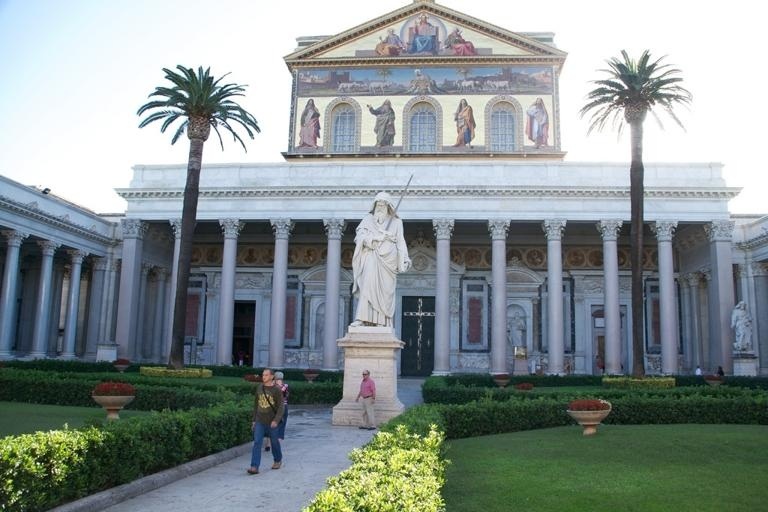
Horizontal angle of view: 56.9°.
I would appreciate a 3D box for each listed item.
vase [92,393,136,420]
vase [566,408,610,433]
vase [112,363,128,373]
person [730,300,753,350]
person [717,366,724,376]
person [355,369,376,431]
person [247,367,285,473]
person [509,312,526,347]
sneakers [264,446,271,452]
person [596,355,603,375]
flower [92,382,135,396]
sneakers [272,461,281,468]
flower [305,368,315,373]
[{"bbox_3d":[-8.695,4.843,22.891,1.155,0.715,1.103,0,-11,-6],"label":"vase"},{"bbox_3d":[6.782,5.387,23.152,1.175,0.821,1.227,-7,-12,26],"label":"vase"},{"bbox_3d":[-14.148,5.970,38.003,0.737,0.404,0.689,2,-12,-5],"label":"vase"},{"bbox_3d":[19.600,3.927,38.858,0.967,2.747,0.830,-8,-13,29],"label":"person"},{"bbox_3d":[18.290,6.209,38.441,0.380,0.497,2.213,-7,-11,24],"label":"person"},{"bbox_3d":[-0.590,4.679,23.145,0.656,1.900,1.088,-1,-11,-2],"label":"person"},{"bbox_3d":[-3.203,4.436,19.174,0.793,2.727,1.023,-10,-14,37],"label":"person"},{"bbox_3d":[8.651,4.724,45.830,1.119,2.236,0.323,1,-12,-12],"label":"person"},{"bbox_3d":[-3.387,5.592,20.543,0.138,0.127,0.365,2,-16,-8],"label":"sneakers"},{"bbox_3d":[13.970,6.928,45.900,0.462,1.166,0.796,-5,-11,16],"label":"person"},{"bbox_3d":[-8.658,4.277,22.669,0.778,0.358,0.612,3,-13,-4],"label":"flower"},{"bbox_3d":[-2.904,5.621,19.046,0.221,0.164,0.220,0,-11,-8],"label":"sneakers"},{"bbox_3d":[-4.018,6.192,38.356,0.489,0.105,0.491,1,-4,-2],"label":"flower"}]
